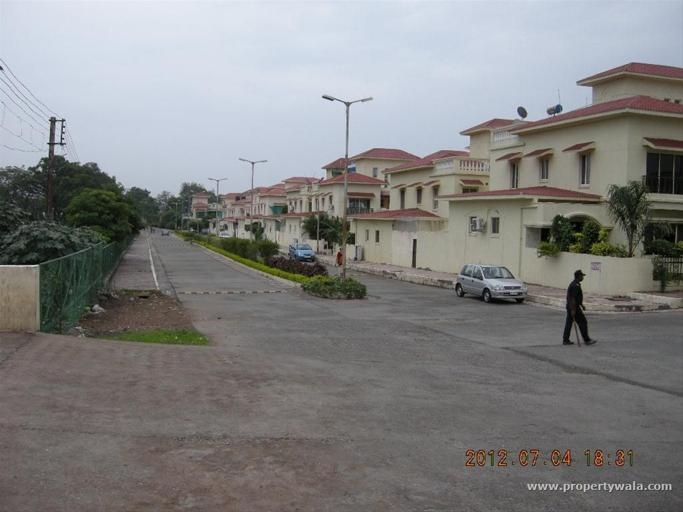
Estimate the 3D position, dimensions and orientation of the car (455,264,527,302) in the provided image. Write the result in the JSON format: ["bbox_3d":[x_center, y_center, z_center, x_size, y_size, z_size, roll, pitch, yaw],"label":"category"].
[{"bbox_3d":[7.017,1.304,29.227,1.645,1.605,3.495,0,5,-20],"label":"car"}]

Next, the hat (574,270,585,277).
[{"bbox_3d":[7.919,0.590,20.725,0.366,0.208,0.513,3,8,39],"label":"hat"}]

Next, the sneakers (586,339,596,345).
[{"bbox_3d":[7.042,2.421,17.537,0.212,0.135,0.384,5,6,39],"label":"sneakers"}]
